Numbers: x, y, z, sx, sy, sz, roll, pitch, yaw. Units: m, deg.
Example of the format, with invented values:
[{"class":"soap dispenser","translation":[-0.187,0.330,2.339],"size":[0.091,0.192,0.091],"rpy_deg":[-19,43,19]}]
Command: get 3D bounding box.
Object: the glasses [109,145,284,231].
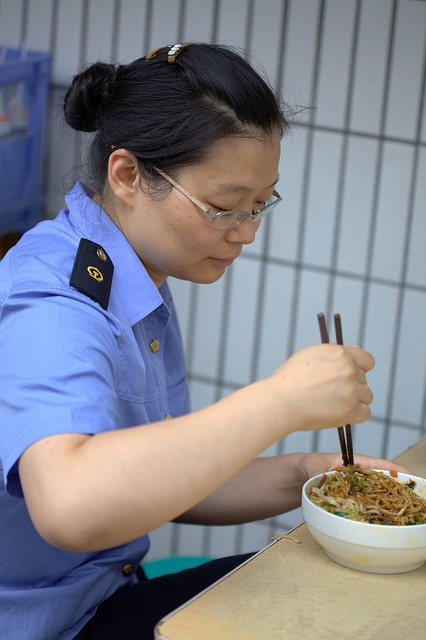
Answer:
[{"class":"glasses","translation":[-0.006,-0.192,0.949],"size":[0.132,0.035,0.127],"rpy_deg":[39,20,15]}]
